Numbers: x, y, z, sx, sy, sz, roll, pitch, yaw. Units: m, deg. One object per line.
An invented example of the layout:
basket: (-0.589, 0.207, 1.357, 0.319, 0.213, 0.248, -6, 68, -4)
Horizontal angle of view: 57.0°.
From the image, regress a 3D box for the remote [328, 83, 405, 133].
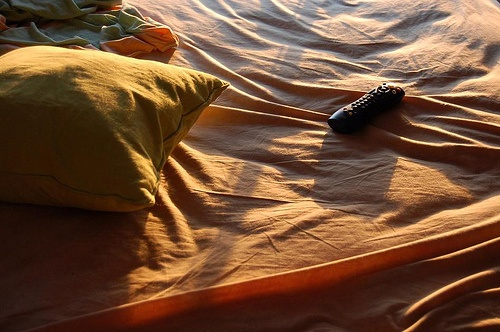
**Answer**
remote: (0.403, -0.187, 1.540, 0.339, 0.074, 0.106, -25, 49, -31)
